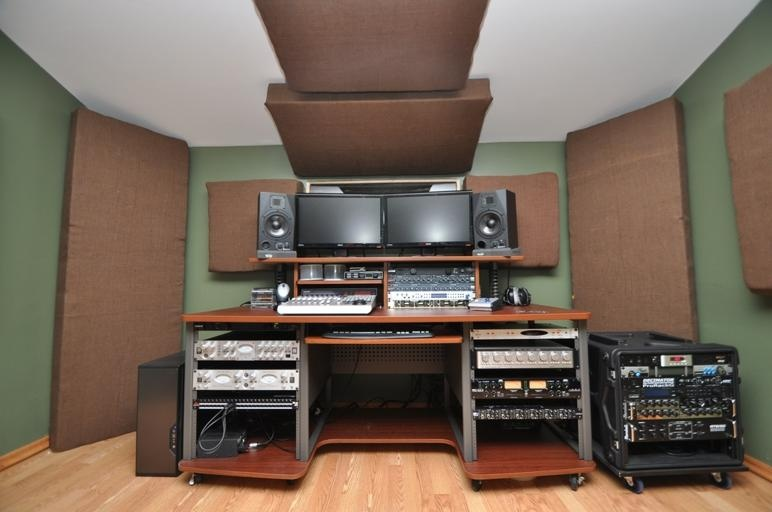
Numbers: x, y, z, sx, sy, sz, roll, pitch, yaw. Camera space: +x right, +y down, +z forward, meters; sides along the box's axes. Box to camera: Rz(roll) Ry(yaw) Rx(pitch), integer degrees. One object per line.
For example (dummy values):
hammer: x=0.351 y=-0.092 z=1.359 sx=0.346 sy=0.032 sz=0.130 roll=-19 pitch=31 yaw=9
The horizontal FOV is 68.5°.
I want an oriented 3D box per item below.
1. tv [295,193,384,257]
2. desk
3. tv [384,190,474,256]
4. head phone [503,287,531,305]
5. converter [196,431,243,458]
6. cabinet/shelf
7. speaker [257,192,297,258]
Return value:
tv: x=-0.368 y=-0.269 z=4.444 sx=0.637 sy=0.348 sz=0.055 roll=0 pitch=-6 yaw=-1
desk: x=0.005 y=0.941 z=4.252 sx=2.777 sy=0.972 sz=1.286 roll=0 pitch=-1 yaw=-1
tv: x=0.331 y=-0.281 z=4.427 sx=0.737 sy=0.417 sz=0.040 roll=0 pitch=2 yaw=26
head phone: x=1.019 y=0.296 z=4.370 sx=0.149 sy=0.118 sz=0.168 roll=-7 pitch=15 yaw=-25
converter: x=-1.143 y=1.297 z=3.888 sx=0.209 sy=0.064 sz=0.197 roll=1 pitch=-3 yaw=-3
cabinet/shelf: x=0.093 y=0.184 z=4.407 sx=1.713 sy=0.361 sz=0.259 roll=-1 pitch=-1 yaw=3
speaker: x=-0.792 y=-0.240 z=4.515 sx=0.376 sy=0.483 sz=0.343 roll=3 pitch=5 yaw=11
